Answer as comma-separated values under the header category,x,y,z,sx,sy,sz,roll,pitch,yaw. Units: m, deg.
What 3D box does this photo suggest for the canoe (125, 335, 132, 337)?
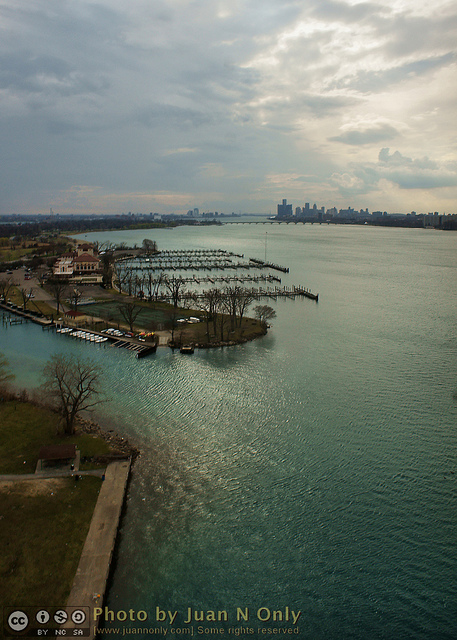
category,x,y,z,sx,sy,sz,roll,pitch,yaw
canoe,-12.304,1.862,62.446,0.476,0.067,0.953,-16,20,-38

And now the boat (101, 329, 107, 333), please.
category,x,y,z,sx,sy,sz,roll,pitch,yaw
boat,-15.775,1.253,64.554,0.592,0.080,1.379,-3,16,3

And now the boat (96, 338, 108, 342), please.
category,x,y,z,sx,sy,sz,roll,pitch,yaw
boat,-15.086,2.289,60.920,0.700,0.256,1.730,2,17,20
